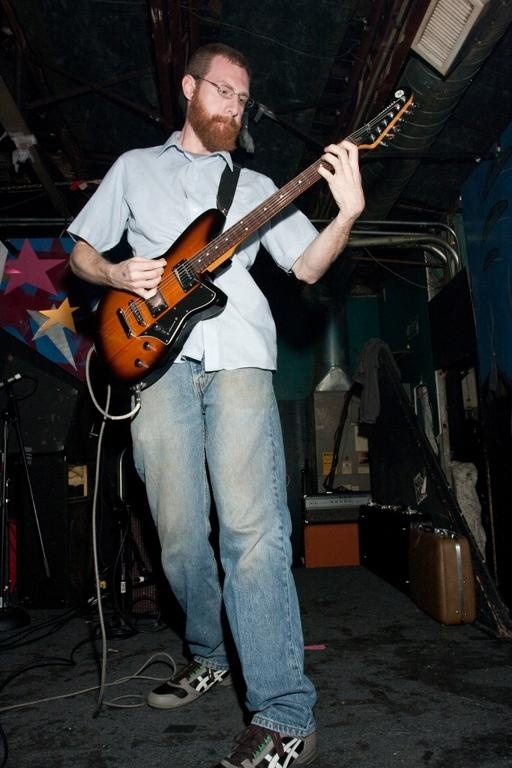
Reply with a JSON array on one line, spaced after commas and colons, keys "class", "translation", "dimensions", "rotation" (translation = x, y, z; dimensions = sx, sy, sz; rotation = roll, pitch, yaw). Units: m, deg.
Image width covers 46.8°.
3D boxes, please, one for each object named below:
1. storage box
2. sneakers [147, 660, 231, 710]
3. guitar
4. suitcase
[{"class": "storage box", "translation": [0.660, 1.208, 5.307], "dimensions": [0.549, 0.773, 0.462], "rotation": [-2, 21, -8]}, {"class": "sneakers", "translation": [-0.190, 0.844, 1.711], "dimensions": [0.088, 0.091, 0.226], "rotation": [11, -1, 42]}, {"class": "guitar", "translation": [0.099, -0.703, 2.736], "dimensions": [1.998, 0.655, 0.266], "rotation": [-41, -8, -3]}, {"class": "suitcase", "translation": [0.881, 0.909, 2.774], "dimensions": [0.148, 0.377, 0.389], "rotation": [0, -9, -8]}]
